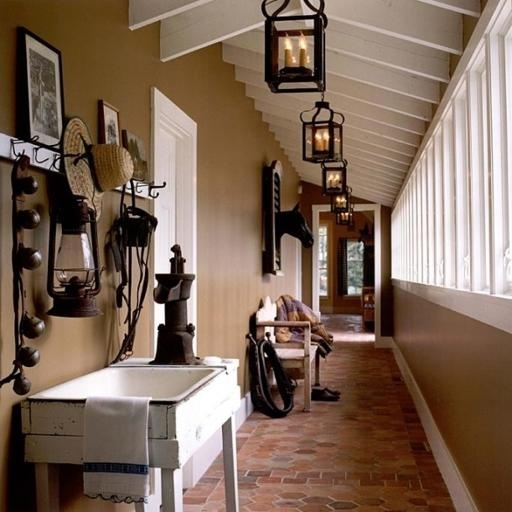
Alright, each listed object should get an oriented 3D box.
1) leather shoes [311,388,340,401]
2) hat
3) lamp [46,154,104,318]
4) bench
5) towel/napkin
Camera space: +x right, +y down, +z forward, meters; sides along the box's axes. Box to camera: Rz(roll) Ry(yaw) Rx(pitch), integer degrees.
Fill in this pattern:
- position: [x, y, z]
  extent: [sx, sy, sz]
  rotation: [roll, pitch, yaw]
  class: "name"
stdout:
- position: [0.717, 1.454, 5.712]
  extent: [0.167, 0.082, 0.156]
  rotation: [-2, -1, 12]
  class: "leather shoes"
- position: [-0.597, -0.380, 2.165]
  extent: [0.095, 0.361, 0.312]
  rotation: [-4, 31, 2]
  class: "hat"
- position: [-0.692, -0.043, 2.055]
  extent: [0.192, 0.552, 0.309]
  rotation: [0, -2, -24]
  class: "lamp"
- position: [0.338, 0.981, 5.861]
  extent: [0.623, 1.064, 1.308]
  rotation: [-1, -2, 7]
  class: "bench"
- position: [-0.450, 0.619, 1.753]
  extent: [0.175, 0.368, 0.093]
  rotation: [-1, -4, 7]
  class: "towel/napkin"
